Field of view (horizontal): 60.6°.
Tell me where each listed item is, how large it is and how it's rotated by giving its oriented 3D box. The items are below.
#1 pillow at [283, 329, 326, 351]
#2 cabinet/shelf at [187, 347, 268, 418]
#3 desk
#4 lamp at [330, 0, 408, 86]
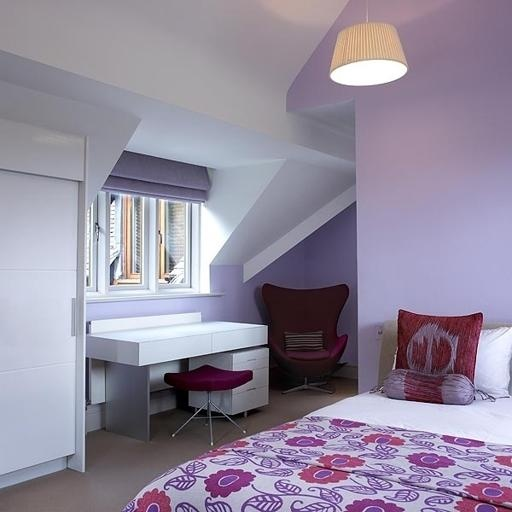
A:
[{"bbox_3d":[0.520,0.922,4.769,0.431,0.203,0.214,-3,-7,5],"label":"pillow"},{"bbox_3d":[-0.181,1.021,3.848,0.591,0.561,0.606,-3,-2,34],"label":"cabinet/shelf"},{"bbox_3d":[-0.629,0.950,3.623,0.785,0.795,1.417,-8,-9,41],"label":"desk"},{"bbox_3d":[0.513,-0.965,2.060,0.341,0.287,0.312,-5,-7,19],"label":"lamp"}]
